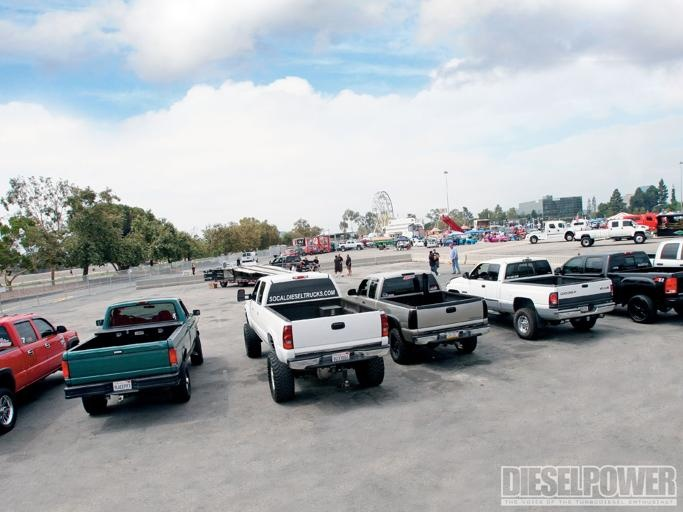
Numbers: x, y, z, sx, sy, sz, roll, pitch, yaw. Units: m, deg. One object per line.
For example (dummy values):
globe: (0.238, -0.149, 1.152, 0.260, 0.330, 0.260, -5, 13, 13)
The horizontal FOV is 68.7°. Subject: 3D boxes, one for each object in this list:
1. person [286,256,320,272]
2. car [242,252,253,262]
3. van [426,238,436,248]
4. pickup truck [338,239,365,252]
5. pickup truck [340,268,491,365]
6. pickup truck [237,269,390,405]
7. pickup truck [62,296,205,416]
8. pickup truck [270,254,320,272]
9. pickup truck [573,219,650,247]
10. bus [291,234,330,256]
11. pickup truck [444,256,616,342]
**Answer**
person: (-3.561, 0.767, 43.842, 1.563, 1.113, 2.411, -3, 3, -22)
car: (-11.620, 0.146, 61.572, 1.239, 0.900, 1.658, 1, 11, -2)
van: (13.152, -1.937, 72.739, 1.362, 1.075, 2.234, -3, 1, 8)
pickup truck: (1.473, -2.095, 88.266, 4.700, 1.896, 2.120, 1, -2, -37)
pickup truck: (1.863, 1.628, 13.402, 2.003, 1.483, 3.384, -4, 10, -26)
pickup truck: (-0.926, 1.751, 12.785, 2.709, 2.427, 5.692, -5, 5, -19)
pickup truck: (-4.529, 2.256, 11.300, 2.295, 2.179, 3.205, -5, 7, -10)
pickup truck: (-4.000, 0.970, 44.338, 3.077, 1.359, 1.983, 6, 8, 40)
pickup truck: (24.134, -2.175, 44.146, 6.507, 2.298, 2.773, -5, 0, 31)
bus: (-4.893, -1.896, 85.521, 5.221, 2.469, 3.432, -5, 9, -31)
pickup truck: (5.476, 1.100, 15.209, 2.525, 1.841, 4.543, -4, 9, -31)
